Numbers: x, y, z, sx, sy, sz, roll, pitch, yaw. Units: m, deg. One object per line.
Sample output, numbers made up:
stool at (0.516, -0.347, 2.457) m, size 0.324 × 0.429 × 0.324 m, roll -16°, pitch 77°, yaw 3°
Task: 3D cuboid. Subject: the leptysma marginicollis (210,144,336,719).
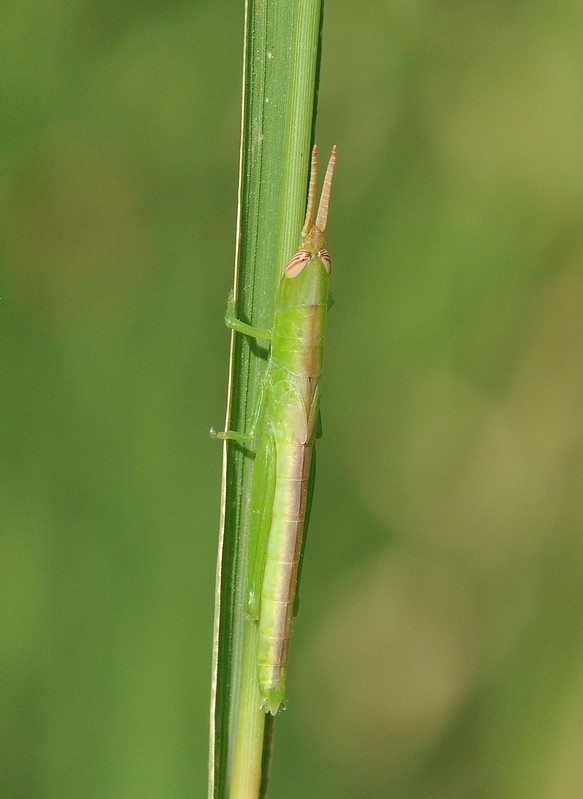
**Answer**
leptysma marginicollis at (-0.067, 0.083, 2.802) m, size 0.278 × 0.554 × 1.402 m, roll 5°, pitch -81°, yaw 1°
